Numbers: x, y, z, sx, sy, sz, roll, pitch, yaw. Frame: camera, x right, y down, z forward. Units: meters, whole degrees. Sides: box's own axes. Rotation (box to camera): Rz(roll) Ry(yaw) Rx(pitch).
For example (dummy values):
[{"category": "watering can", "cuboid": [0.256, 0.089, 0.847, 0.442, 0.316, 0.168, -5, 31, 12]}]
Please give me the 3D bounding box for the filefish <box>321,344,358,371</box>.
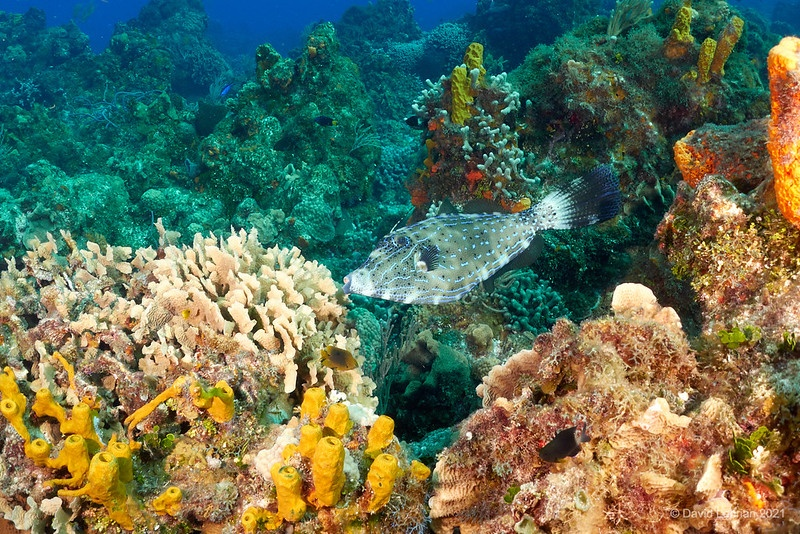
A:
[{"category": "filefish", "cuboid": [-0.925, 1.406, 11.534, 0.564, 0.399, 0.248, 9, 60, 7]}]
